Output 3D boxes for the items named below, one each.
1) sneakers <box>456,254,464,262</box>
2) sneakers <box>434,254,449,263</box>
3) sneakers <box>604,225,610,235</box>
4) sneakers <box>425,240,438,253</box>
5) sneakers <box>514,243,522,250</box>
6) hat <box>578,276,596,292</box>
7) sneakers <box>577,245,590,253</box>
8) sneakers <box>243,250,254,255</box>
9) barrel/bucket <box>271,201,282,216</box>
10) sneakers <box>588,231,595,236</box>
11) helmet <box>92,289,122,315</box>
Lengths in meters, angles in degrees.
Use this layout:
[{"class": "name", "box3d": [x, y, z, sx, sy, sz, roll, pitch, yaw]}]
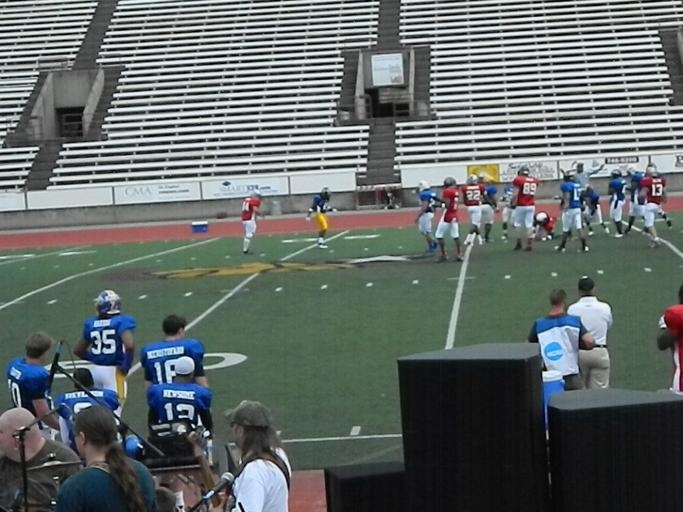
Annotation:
[{"class": "sneakers", "box3d": [2.564, 0.041, 25.216, 0.168, 0.174, 0.090, -6, 12, -19]}, {"class": "sneakers", "box3d": [2.153, 0.048, 25.265, 0.241, 0.253, 0.116, 9, 11, 32]}, {"class": "sneakers", "box3d": [6.365, -0.620, 28.117, 0.104, 0.194, 0.450, 8, 12, 12]}, {"class": "sneakers", "box3d": [2.027, -0.229, 26.616, 0.266, 0.291, 0.187, -7, 13, -4]}, {"class": "sneakers", "box3d": [3.882, -0.224, 25.855, 0.144, 0.234, 0.116, 12, 29, 26]}, {"class": "hat", "box3d": [3.779, 0.441, 18.132, 0.223, 0.233, 0.416, -2, -4, 9]}, {"class": "sneakers", "box3d": [5.141, -0.146, 24.922, 0.089, 0.135, 0.301, -1, 6, -23]}, {"class": "sneakers", "box3d": [-2.248, -0.081, 28.170, 0.211, 0.098, 0.097, -2, 2, 18]}, {"class": "barrel/bucket", "box3d": [-2.082, -1.498, 37.085, 0.390, 0.477, 0.409, -1, 2, 0]}, {"class": "sneakers", "box3d": [5.820, -0.533, 27.406, 0.092, 0.109, 0.260, 0, 3, 24]}, {"class": "helmet", "box3d": [-3.701, 0.736, 18.494, 0.325, 0.395, 0.432, -2, 7, -28]}]
